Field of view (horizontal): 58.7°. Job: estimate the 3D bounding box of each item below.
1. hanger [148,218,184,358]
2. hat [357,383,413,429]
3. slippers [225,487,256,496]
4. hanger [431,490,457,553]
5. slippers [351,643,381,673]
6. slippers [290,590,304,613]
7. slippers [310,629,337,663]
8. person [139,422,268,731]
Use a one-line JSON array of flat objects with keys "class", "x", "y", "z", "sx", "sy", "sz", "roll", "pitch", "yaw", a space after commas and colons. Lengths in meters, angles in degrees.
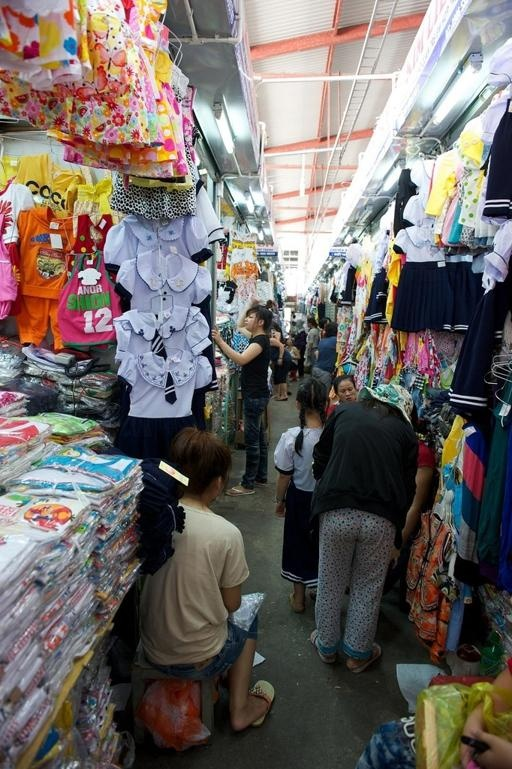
[{"class": "hanger", "x": -0.417, "y": -0.434, "z": 2.067, "sx": 0.189, "sy": 0.621, "sz": 0.070, "roll": 1, "pitch": 2, "yaw": -10}, {"class": "hat", "x": 0.597, "y": 0.059, "z": 2.064, "sx": 0.219, "sy": 0.080, "sz": 0.197, "roll": 31, "pitch": 0, "yaw": 28}, {"class": "slippers", "x": -0.144, "y": 0.979, "z": 4.195, "sx": 0.217, "sy": 0.088, "sz": 0.094, "roll": 6, "pitch": -5, "yaw": -20}, {"class": "hanger", "x": 0.867, "y": 0.587, "z": 2.057, "sx": 0.055, "sy": 0.174, "sz": 0.127, "roll": 1, "pitch": 15, "yaw": -26}, {"class": "slippers", "x": 0.484, "y": 1.226, "z": 2.024, "sx": 0.068, "sy": 0.104, "sz": 0.154, "roll": 20, "pitch": 50, "yaw": 36}, {"class": "slippers", "x": 0.230, "y": 1.207, "z": 2.514, "sx": 0.052, "sy": 0.050, "sz": 0.118, "roll": 2, "pitch": 6, "yaw": 1}, {"class": "slippers", "x": 0.313, "y": 1.243, "z": 2.155, "sx": 0.055, "sy": 0.063, "sz": 0.159, "roll": -1, "pitch": 24, "yaw": -2}, {"class": "person", "x": -0.132, "y": 0.721, "z": 1.582, "sx": 0.482, "sy": 1.147, "sz": 0.296, "roll": -1, "pitch": 3, "yaw": -39}]
